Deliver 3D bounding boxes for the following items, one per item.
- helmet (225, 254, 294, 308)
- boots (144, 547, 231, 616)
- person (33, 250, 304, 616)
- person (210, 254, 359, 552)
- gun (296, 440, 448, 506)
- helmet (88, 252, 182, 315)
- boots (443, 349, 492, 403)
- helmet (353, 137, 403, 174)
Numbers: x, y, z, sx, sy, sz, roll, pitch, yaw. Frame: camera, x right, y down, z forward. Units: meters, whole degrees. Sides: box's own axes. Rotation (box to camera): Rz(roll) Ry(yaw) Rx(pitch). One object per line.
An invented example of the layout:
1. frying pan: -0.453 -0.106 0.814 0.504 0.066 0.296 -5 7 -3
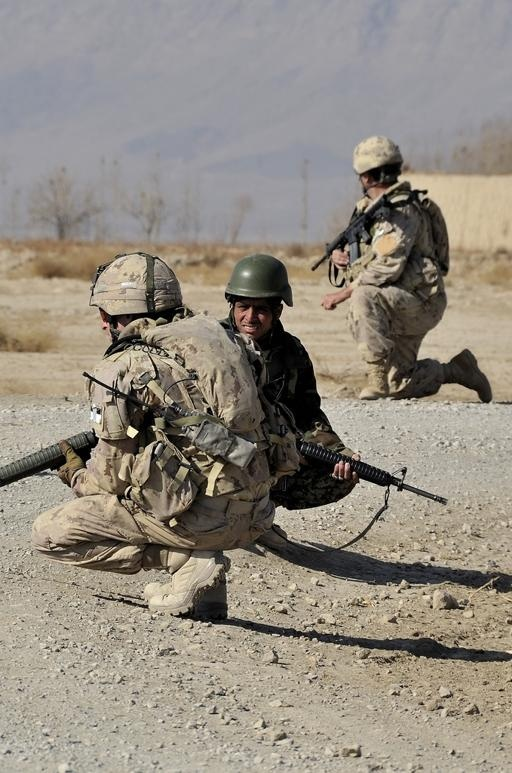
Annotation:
1. helmet: 0.009 -0.409 3.883 0.235 0.158 0.229 6 24 11
2. boots: -0.197 0.678 3.357 0.146 0.181 0.410 -18 0 -40
3. person: -0.329 0.167 3.399 0.766 1.226 0.598 13 9 19
4. person: 0.107 0.037 3.965 0.850 1.097 0.583 -5 4 9
5. gun: 0.546 0.422 4.691 0.790 0.209 0.100 17 28 3
6. helmet: -0.453 -0.384 3.642 0.289 0.218 0.278 12 14 38
7. boots: 1.648 -0.060 7.647 0.279 0.426 0.751 2 -1 12
8. helmet: 0.856 -1.639 6.977 0.336 0.263 0.256 10 8 5
